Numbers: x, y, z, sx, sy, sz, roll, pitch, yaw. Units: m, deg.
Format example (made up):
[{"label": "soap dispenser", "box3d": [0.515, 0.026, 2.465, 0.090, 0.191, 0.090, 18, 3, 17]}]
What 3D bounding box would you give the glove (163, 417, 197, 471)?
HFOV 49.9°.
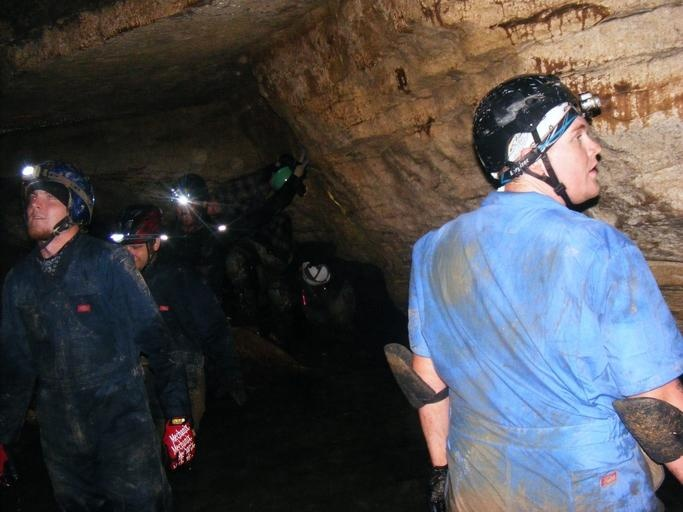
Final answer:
[{"label": "glove", "box3d": [-0.991, 1.151, 4.532, 0.239, 0.295, 0.112, 4, 2, -7]}]
